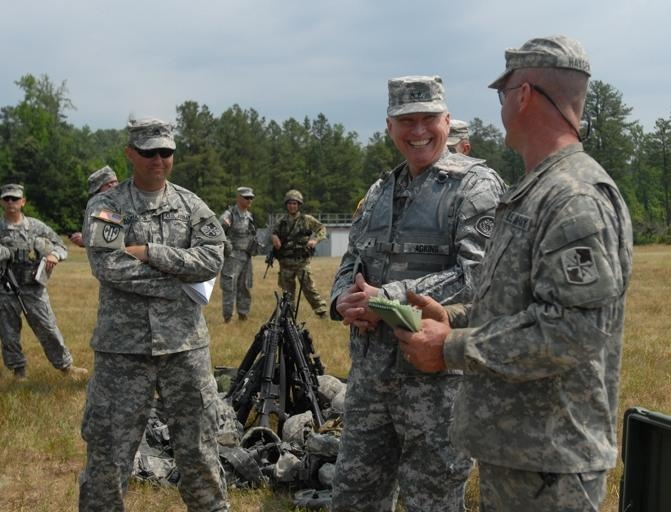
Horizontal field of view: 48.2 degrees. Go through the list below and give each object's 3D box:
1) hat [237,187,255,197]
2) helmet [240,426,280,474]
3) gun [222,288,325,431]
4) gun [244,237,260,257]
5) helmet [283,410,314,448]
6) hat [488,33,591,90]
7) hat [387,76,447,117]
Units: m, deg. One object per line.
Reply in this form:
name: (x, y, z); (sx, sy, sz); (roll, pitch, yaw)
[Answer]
hat: (-1.701, -1.207, 14.034); (0.316, 0.170, 0.435); (0, 11, -26)
helmet: (-0.654, 1.684, 6.631); (0.359, 0.319, 0.529); (-2, 6, -8)
gun: (-0.546, 1.075, 7.448); (0.568, 1.563, 0.759); (22, -23, -36)
gun: (-1.520, -0.171, 13.531); (0.134, 0.242, 0.273); (25, 16, -4)
helmet: (-0.346, 1.575, 6.857); (0.214, 0.283, 0.199); (5, -11, 10)
hat: (1.108, -1.066, 4.116); (0.541, 0.270, 0.404); (5, 8, 33)
hat: (0.513, -1.046, 4.836); (0.412, 0.216, 0.593); (-6, 17, -5)
